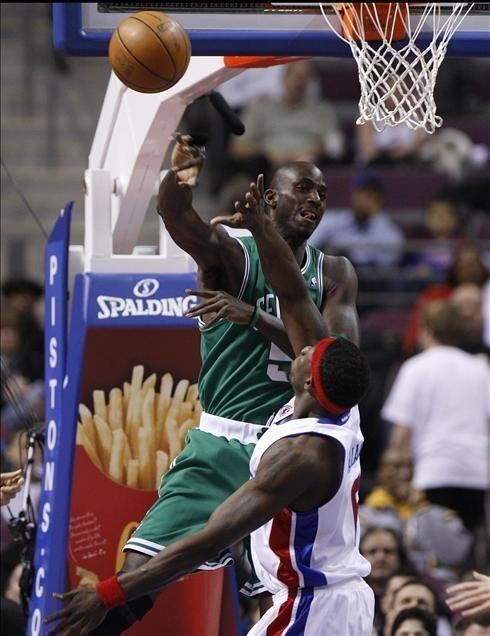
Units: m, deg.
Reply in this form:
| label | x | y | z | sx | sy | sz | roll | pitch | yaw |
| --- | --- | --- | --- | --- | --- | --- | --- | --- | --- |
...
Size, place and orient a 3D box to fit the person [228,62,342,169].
| label | x | y | z | sx | sy | sz | roll | pitch | yaw |
| --- | --- | --- | --- | --- | --- | --- | --- | --- | --- |
| person | 0.376 | -1.482 | 7.867 | 0.790 | 1.214 | 0.676 | -14 | 17 | -32 |

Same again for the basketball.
| label | x | y | z | sx | sy | sz | roll | pitch | yaw |
| --- | --- | --- | --- | --- | --- | --- | --- | --- | --- |
| basketball | -0.322 | -0.864 | 3.454 | 0.254 | 0.253 | 0.263 | -17 | 4 | -26 |
